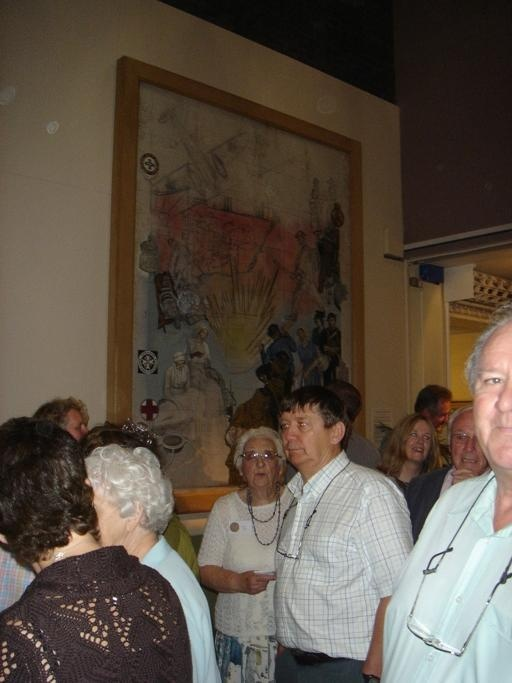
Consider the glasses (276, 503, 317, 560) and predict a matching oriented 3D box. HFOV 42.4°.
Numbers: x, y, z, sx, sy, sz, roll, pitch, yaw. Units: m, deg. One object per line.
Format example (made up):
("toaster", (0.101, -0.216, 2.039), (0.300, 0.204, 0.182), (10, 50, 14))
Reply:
("glasses", (0.185, 0.824, 2.907), (0.163, 0.253, 0.066), (-7, -33, 43))
